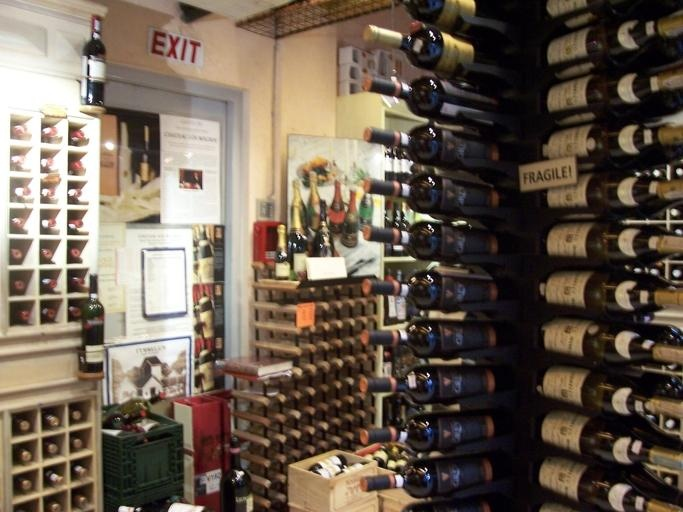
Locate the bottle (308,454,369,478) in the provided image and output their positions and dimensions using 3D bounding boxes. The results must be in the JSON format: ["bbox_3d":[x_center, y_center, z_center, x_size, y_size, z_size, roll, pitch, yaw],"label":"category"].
[{"bbox_3d":[-0.035,1.214,3.336,0.136,0.061,0.190,-1,-2,40],"label":"bottle"}]

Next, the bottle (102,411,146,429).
[{"bbox_3d":[-1.226,0.922,3.214,0.153,0.061,0.109,3,-3,-28],"label":"bottle"}]

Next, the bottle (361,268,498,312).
[{"bbox_3d":[0.231,0.077,1.415,0.402,0.119,0.119,0,4,-26],"label":"bottle"}]

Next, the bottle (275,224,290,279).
[{"bbox_3d":[-0.407,-0.039,3.980,0.097,0.365,0.269,-1,6,-6],"label":"bottle"}]

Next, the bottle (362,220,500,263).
[{"bbox_3d":[0.250,-0.044,1.777,0.330,0.077,0.088,-2,23,-30],"label":"bottle"}]

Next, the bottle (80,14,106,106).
[{"bbox_3d":[-1.263,-0.998,2.917,0.116,0.457,0.064,-3,6,-25],"label":"bottle"}]

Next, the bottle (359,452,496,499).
[{"bbox_3d":[0.262,0.509,1.343,0.276,0.087,0.048,-3,6,-19],"label":"bottle"}]

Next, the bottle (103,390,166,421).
[{"bbox_3d":[-1.245,0.885,3.418,0.229,0.064,0.221,-16,5,1],"label":"bottle"}]
